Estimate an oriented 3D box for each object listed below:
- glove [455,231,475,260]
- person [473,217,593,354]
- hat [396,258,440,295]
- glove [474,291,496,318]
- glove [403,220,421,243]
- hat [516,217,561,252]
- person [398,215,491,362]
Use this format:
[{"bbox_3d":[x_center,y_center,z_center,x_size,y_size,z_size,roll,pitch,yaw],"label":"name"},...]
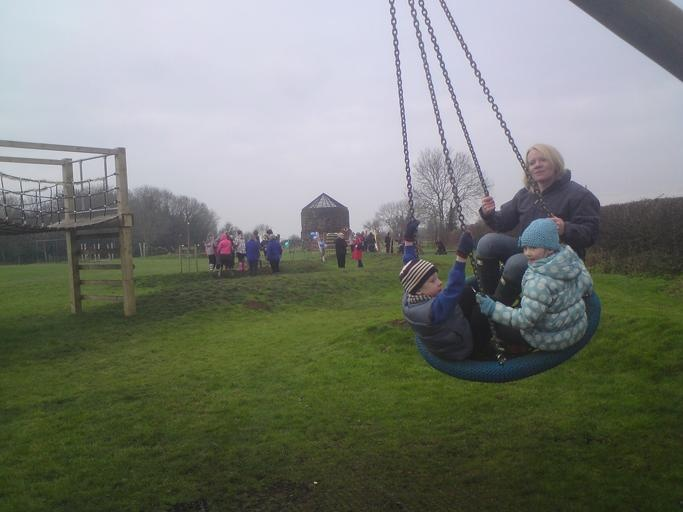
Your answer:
[{"bbox_3d":[1.078,-0.089,4.383,0.152,0.229,0.076,2,4,7],"label":"glove"},{"bbox_3d":[1.773,0.277,4.449,0.959,1.198,0.350,-5,9,-19],"label":"person"},{"bbox_3d":[0.689,0.193,4.574,0.314,0.327,0.205,-1,8,10],"label":"hat"},{"bbox_3d":[1.268,0.431,4.479,0.148,0.206,0.200,-28,43,-26],"label":"glove"},{"bbox_3d":[0.660,-0.257,4.790,0.139,0.204,0.060,2,-28,-8],"label":"glove"},{"bbox_3d":[1.702,-0.181,4.339,0.299,0.297,0.242,-3,4,17],"label":"hat"},{"bbox_3d":[0.881,0.373,4.768,0.698,1.354,0.876,-17,18,-21],"label":"person"}]
